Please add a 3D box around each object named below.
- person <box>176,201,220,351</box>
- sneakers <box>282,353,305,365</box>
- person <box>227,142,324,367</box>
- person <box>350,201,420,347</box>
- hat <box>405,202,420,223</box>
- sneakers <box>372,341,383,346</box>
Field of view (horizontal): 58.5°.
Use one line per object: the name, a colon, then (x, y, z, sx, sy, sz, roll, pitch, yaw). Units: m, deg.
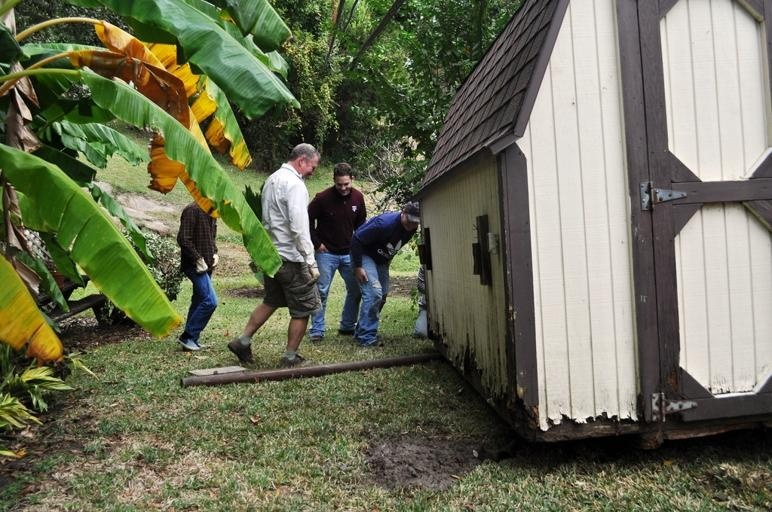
person: (-2.446, 0.240, 8.932, 0.566, 1.872, 0.598, -5, 4, -15)
sneakers: (-1.095, 1.212, 8.176, 0.122, 0.128, 0.271, 5, 7, 42)
person: (-1.274, -0.015, 8.176, 0.949, 2.596, 0.793, -3, 4, 7)
person: (-0.032, 0.219, 9.823, 0.939, 1.925, 0.864, -4, 4, -5)
hat: (0.353, -0.608, 9.555, 0.201, 0.306, 0.257, -4, 4, -4)
sneakers: (-0.110, 1.203, 9.528, 0.154, 0.059, 0.293, -4, 4, 0)
